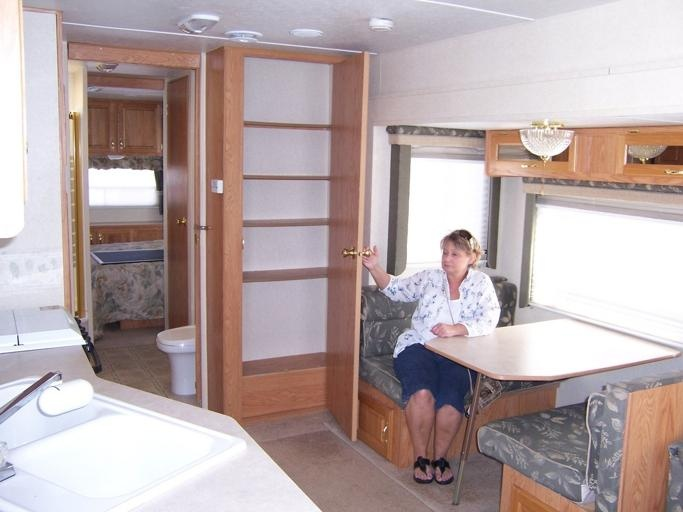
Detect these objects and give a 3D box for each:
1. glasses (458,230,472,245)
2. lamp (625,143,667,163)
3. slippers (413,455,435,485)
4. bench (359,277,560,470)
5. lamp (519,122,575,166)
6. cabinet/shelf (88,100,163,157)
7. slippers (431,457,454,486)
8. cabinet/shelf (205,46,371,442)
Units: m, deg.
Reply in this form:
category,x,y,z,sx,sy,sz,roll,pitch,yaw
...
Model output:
category,x,y,z,sx,sy,sz,roll,pitch,yaw
glasses,0.778,-0.115,3.266,0.078,0.034,0.098,8,18,-5
lamp,1.618,-0.546,2.762,0.112,0.074,0.106,-5,9,-24
slippers,0.469,1.270,3.031,0.088,0.072,0.174,0,-2,4
bench,0.658,0.745,3.113,1.279,0.913,0.663,-2,7,-23
lamp,1.078,-0.590,2.824,0.274,0.243,0.258,0,4,3
cabinet/shelf,-2.934,-1.776,7.306,1.273,0.763,0.649,3,9,7
slippers,0.599,1.282,3.054,0.087,0.073,0.182,0,0,3
cabinet/shelf,-0.410,-0.125,3.733,1.145,2.566,0.954,2,12,0
